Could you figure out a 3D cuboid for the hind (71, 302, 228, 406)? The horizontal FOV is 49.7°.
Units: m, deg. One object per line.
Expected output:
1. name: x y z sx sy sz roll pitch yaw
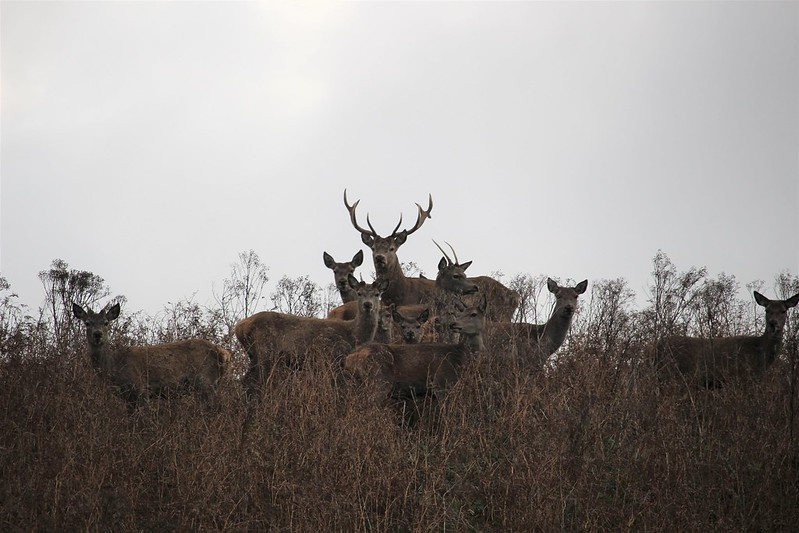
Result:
1. hind: -4.101 1.556 13.898 2.478 1.891 1.016 14 -26 -31
